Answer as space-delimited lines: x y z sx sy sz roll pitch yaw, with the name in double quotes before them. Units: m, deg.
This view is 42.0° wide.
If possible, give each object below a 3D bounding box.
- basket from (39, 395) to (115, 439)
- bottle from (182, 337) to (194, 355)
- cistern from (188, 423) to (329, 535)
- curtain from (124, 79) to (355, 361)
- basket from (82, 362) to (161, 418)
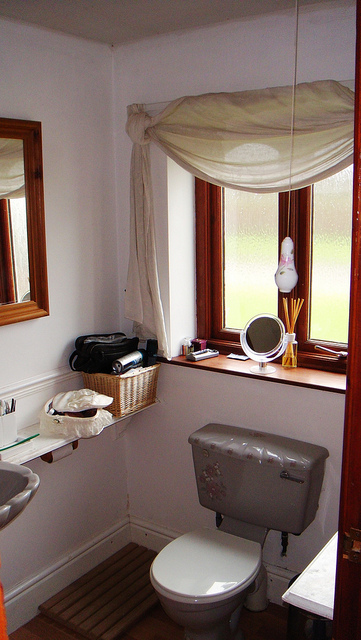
"basket" -0.394 0.371 1.737 0.156 0.048 0.150 4 7 22
"bottle" 0.034 0.121 2.128 0.046 0.074 0.069 0 -1 22
"cistern" 0.279 0.582 1.781 0.470 0.321 0.260 6 11 27
"curtain" 0.231 -0.412 1.845 0.998 1.149 0.147 7 14 33
"basket" -0.220 0.273 2.068 0.196 0.158 0.254 -1 5 42
